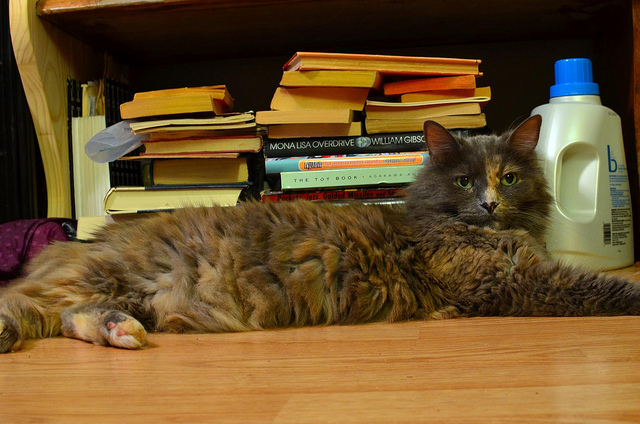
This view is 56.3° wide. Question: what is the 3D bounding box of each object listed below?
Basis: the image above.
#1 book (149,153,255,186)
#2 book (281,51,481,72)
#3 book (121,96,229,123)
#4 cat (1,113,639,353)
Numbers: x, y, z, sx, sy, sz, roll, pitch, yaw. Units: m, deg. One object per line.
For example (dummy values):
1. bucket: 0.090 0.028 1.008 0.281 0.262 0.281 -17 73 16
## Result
1. book: -0.552 -0.160 2.221 0.535 0.093 0.522 3 6 5
2. book: 0.216 -0.500 2.076 0.669 0.063 0.093 1 -6 -3
3. book: -0.544 -0.359 2.112 0.324 0.054 0.298 -2 6 22
4. cat: 0.300 0.013 2.024 2.256 0.661 0.720 -5 4 -4
